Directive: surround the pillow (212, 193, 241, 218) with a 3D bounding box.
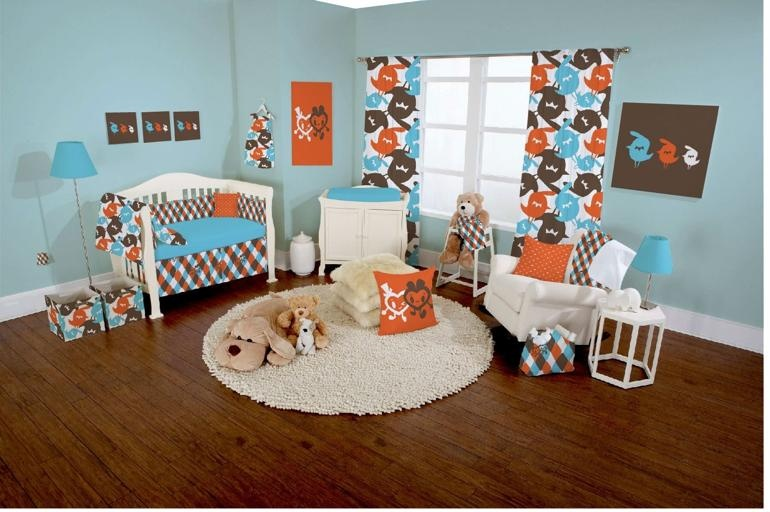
[{"bbox_3d":[-1.898,-0.596,6.031,0.298,0.283,0.106,1,-1,-2],"label":"pillow"}]

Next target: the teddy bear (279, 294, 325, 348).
[{"bbox_3d":[-0.690,0.546,4.786,0.562,0.535,0.433,-1,13,-1],"label":"teddy bear"}]

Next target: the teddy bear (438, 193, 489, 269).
[{"bbox_3d":[0.929,-0.321,5.848,0.591,0.822,0.475,1,24,7],"label":"teddy bear"}]

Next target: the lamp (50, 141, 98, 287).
[{"bbox_3d":[-3.085,-0.395,5.146,0.377,1.477,0.534,-10,18,-28],"label":"lamp"}]

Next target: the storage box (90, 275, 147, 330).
[{"bbox_3d":[-2.714,0.467,5.105,0.507,0.385,0.486,-5,16,-31],"label":"storage box"}]

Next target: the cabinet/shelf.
[{"bbox_3d":[-0.251,-0.276,5.917,1.019,0.928,0.449,1,14,3],"label":"cabinet/shelf"}]

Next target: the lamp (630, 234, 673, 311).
[{"bbox_3d":[2.448,0.155,4.653,0.338,0.646,0.349,-11,21,-36],"label":"lamp"}]

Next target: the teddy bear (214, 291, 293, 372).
[{"bbox_3d":[-1.192,0.701,4.576,0.694,0.470,0.574,-6,16,-16],"label":"teddy bear"}]

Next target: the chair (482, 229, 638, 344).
[{"bbox_3d":[1.650,0.259,5.008,1.050,0.933,0.966,-1,18,-15],"label":"chair"}]

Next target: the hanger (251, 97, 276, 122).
[{"bbox_3d":[-1.433,-1.731,6.028,0.297,0.208,0.006,4,13,13],"label":"hanger"}]

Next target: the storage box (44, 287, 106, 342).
[{"bbox_3d":[-2.990,0.549,4.887,0.447,0.389,0.442,-12,19,-34],"label":"storage box"}]

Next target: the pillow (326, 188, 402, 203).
[{"bbox_3d":[-0.252,-0.733,6.151,0.877,0.148,0.344,1,15,8],"label":"pillow"}]

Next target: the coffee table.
[{"bbox_3d":[2.210,0.705,4.633,0.578,0.645,0.944,7,17,28],"label":"coffee table"}]

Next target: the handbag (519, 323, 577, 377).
[{"bbox_3d":[1.428,0.842,4.458,0.454,0.423,0.135,-1,-1,2],"label":"handbag"}]

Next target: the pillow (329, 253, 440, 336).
[{"bbox_3d":[-0.036,0.338,4.985,0.811,0.420,0.802,-10,28,-24],"label":"pillow"}]
